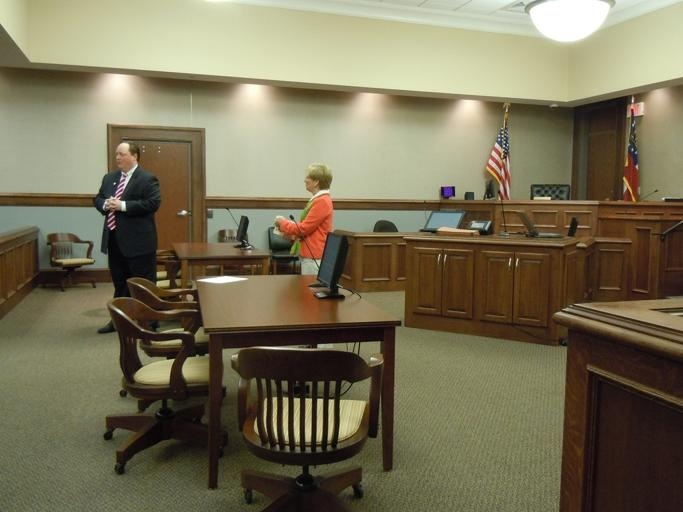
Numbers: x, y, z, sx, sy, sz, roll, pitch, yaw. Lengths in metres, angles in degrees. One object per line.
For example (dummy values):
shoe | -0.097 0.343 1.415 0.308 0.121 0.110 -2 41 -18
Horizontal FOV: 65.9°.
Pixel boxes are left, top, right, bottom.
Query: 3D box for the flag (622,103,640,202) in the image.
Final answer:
flag | 5.138 -1.863 9.268 0.264 1.726 0.613 3 9 29

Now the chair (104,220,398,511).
chair | -0.391 0.588 3.357 1.207 1.189 1.364 -4 9 -18

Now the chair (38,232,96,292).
chair | -3.981 0.065 7.973 0.771 1.104 0.769 -2 6 -38

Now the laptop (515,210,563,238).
laptop | 2.058 -0.337 5.425 0.399 0.288 0.722 3 9 23

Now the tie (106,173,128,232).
tie | -2.213 -0.622 5.242 0.127 0.756 0.106 11 -23 -14

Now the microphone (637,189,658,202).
microphone | 5.361 -1.085 9.214 0.238 0.071 0.247 -18 9 21

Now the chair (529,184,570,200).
chair | 3.491 -1.066 8.785 0.588 0.222 0.228 0 8 7

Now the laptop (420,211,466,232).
laptop | 1.169 -0.404 6.058 0.460 0.248 0.412 4 10 31

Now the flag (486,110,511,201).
flag | 2.916 -1.938 9.761 0.440 1.739 0.716 2 8 17
